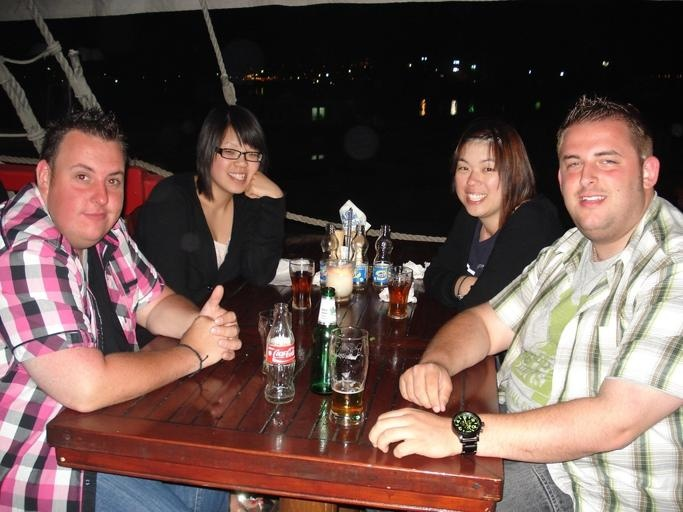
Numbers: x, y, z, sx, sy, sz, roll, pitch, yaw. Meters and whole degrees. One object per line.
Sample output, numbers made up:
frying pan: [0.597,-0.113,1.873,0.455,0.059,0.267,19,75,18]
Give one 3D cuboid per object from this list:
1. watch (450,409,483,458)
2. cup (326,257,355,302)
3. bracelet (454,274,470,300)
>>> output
watch: [0.376,0.549,1.574,0.083,0.104,0.114,-3,31,5]
cup: [-0.001,0.119,2.681,0.206,0.287,0.186,0,15,0]
bracelet: [0.664,0.171,2.810,0.041,0.118,0.086,20,34,0]
